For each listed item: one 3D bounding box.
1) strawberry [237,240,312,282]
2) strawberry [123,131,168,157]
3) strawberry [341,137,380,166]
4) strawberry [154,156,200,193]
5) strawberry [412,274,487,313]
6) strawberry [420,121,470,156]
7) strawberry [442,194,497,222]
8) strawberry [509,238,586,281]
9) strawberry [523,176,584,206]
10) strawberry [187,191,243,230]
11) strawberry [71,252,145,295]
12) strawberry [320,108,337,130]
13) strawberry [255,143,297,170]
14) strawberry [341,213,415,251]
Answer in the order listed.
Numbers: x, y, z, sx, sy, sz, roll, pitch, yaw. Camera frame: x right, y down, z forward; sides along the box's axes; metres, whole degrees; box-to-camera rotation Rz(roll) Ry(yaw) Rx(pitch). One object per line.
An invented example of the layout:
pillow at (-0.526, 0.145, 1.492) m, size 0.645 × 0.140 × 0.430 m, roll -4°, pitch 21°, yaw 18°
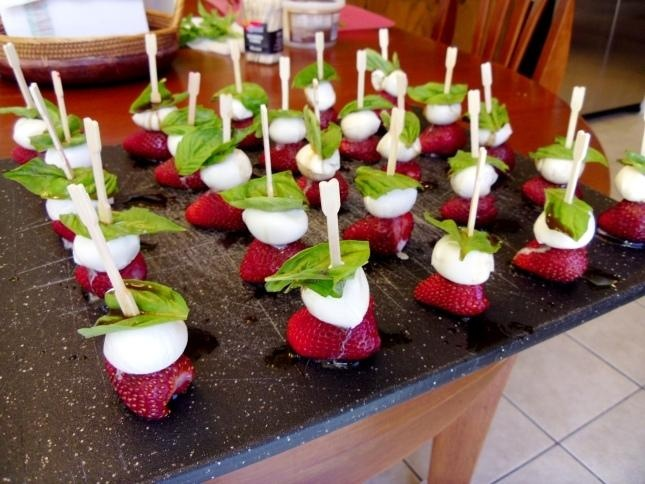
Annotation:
strawberry at (-0.115, 0.041, 1.110) m, size 0.109 × 0.067 × 0.085 m, roll -6°, pitch -5°, yaw 11°
strawberry at (-0.475, -0.259, 1.400) m, size 0.113 × 0.068 × 0.066 m, roll 12°, pitch -4°, yaw 8°
strawberry at (0.108, -0.254, 1.459) m, size 0.098 × 0.073 × 0.053 m, roll 6°, pitch 64°, yaw 10°
strawberry at (-0.359, -0.172, 1.344) m, size 0.135 × 0.074 × 0.070 m, roll 9°, pitch 36°, yaw -14°
strawberry at (0.243, 0.104, 0.984) m, size 0.101 × 0.039 × 0.076 m, roll 6°, pitch 37°, yaw 22°
strawberry at (0.349, -0.293, 1.495) m, size 0.112 × 0.071 × 0.112 m, roll -13°, pitch 28°, yaw 1°
strawberry at (0.345, -0.073, 1.225) m, size 0.109 × 0.059 × 0.082 m, roll 1°, pitch 25°, yaw 23°
strawberry at (0.469, 0.041, 1.067) m, size 0.087 × 0.047 × 0.103 m, roll 13°, pitch -4°, yaw -42°
strawberry at (0.573, -0.132, 1.284) m, size 0.121 × 0.065 × 0.091 m, roll -4°, pitch 6°, yaw -21°
strawberry at (-0.252, -0.063, 1.199) m, size 0.113 × 0.084 × 0.067 m, roll 5°, pitch 51°, yaw 10°
strawberry at (-0.435, 0.076, 1.056) m, size 0.133 × 0.053 × 0.141 m, roll -5°, pitch 13°, yaw -23°
strawberry at (0.018, -0.362, 1.550) m, size 0.070 × 0.049 × 0.088 m, roll -2°, pitch 13°, yaw 2°
strawberry at (-0.120, -0.232, 1.396) m, size 0.092 × 0.049 × 0.070 m, roll -4°, pitch 18°, yaw -5°
strawberry at (0.118, -0.003, 1.124) m, size 0.119 × 0.071 × 0.090 m, roll -11°, pitch -12°, yaw 22°
